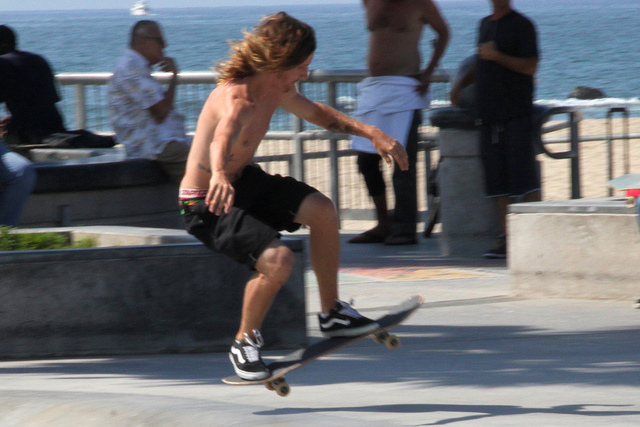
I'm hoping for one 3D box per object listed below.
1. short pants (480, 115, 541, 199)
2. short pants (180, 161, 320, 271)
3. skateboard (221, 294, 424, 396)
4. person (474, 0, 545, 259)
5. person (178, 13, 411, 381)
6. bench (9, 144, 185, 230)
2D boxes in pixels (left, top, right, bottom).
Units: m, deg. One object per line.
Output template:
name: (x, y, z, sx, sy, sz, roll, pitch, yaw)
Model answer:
short pants: (1.823, -0.539, 9.084, 0.540, 0.832, 0.320, 0, 17, 8)
short pants: (-0.440, -0.004, 6.009, 0.970, 0.549, 0.342, -7, -34, 23)
skateboard: (-0.015, 0.883, 6.204, 1.563, 0.169, 0.285, -17, 9, -15)
person: (1.844, -0.822, 9.252, 0.605, 2.524, 0.710, -1, 17, 8)
person: (-0.264, -0.174, 6.062, 1.402, 2.214, 0.988, -17, 21, -42)
bench: (-2.174, -0.106, 9.610, 1.697, 0.393, 1.476, -6, -5, 21)
